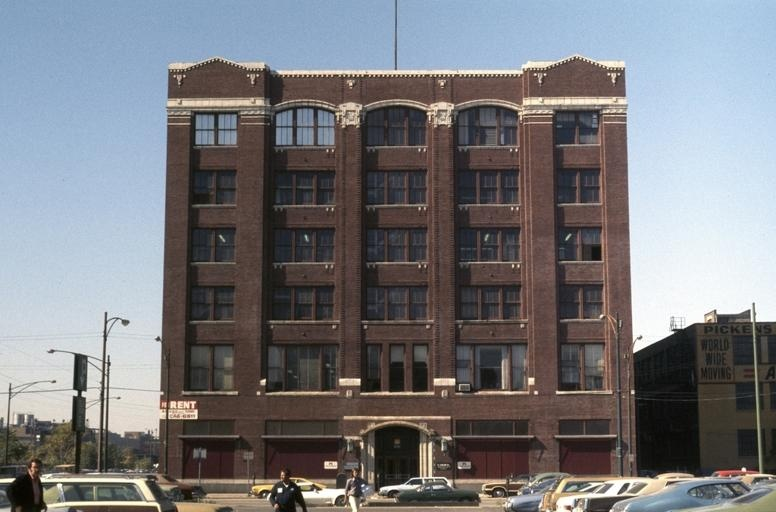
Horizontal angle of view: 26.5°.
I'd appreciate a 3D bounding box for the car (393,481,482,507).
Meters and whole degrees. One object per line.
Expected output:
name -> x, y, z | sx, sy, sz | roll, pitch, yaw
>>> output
car -> 4.524, 22.675, 157.027 | 7.389, 2.458, 0.953 | -3, -14, 0
